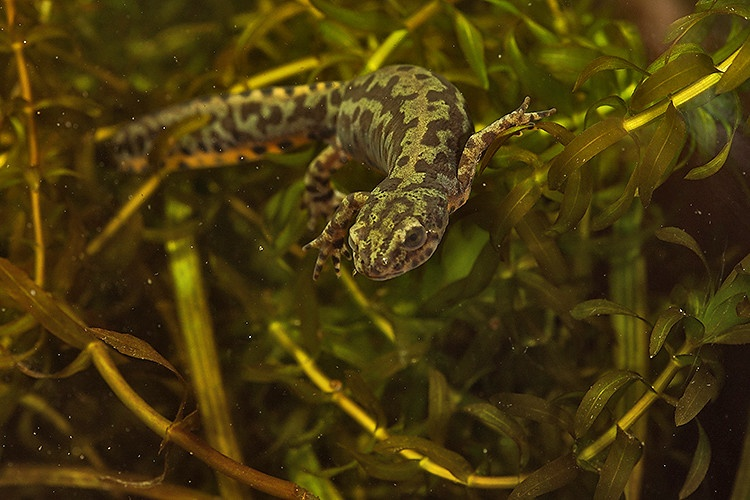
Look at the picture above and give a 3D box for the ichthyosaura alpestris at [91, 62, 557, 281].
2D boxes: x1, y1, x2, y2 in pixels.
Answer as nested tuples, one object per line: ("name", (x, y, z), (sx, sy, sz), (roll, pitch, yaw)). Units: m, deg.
("ichthyosaura alpestris", (-0.256, -0.597, 6.015), (2.676, 1.119, 1.358), (18, 42, 20))
